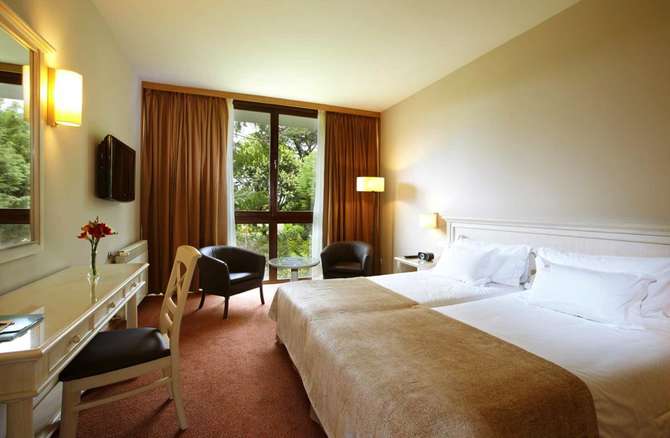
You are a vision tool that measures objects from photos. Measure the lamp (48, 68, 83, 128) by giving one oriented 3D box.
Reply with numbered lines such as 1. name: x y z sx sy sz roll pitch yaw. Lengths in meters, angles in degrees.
1. lamp: -2.267 -1.069 3.434 0.238 0.223 0.552 -5 -39 -38
